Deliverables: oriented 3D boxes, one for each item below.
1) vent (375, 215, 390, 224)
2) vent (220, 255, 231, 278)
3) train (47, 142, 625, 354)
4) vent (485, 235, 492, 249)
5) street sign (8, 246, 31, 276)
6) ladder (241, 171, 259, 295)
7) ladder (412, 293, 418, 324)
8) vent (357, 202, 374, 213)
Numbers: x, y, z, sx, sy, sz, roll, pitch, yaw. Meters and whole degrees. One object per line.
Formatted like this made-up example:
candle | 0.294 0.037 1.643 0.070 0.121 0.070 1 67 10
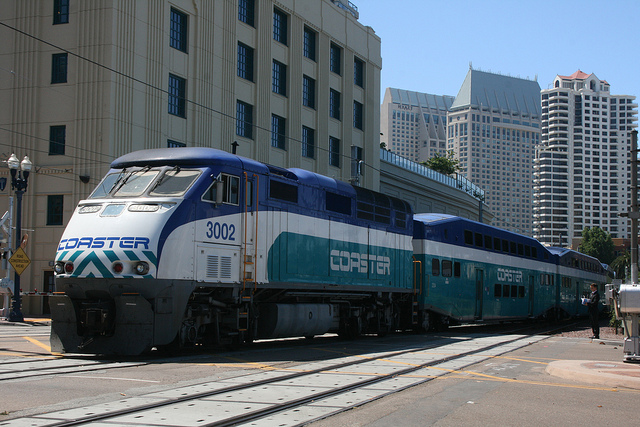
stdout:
vent | 2.415 0.196 29.876 0.026 0.258 0.990 3 1 39
vent | -2.915 1.594 23.707 0.093 0.455 0.459 3 1 32
train | 8.226 2.353 39.650 4.148 5.024 46.858 3 0 39
vent | 8.327 1.347 38.062 0.070 0.708 0.630 -8 -11 36
street sign | -13.662 2.088 34.881 0.365 1.235 0.851 3 1 42
ladder | -2.203 0.601 24.408 0.216 2.620 0.652 3 1 34
ladder | 4.017 3.974 32.580 0.205 1.016 0.518 3 1 20
vent | 1.724 -0.243 29.055 0.191 0.273 1.056 3 0 30
